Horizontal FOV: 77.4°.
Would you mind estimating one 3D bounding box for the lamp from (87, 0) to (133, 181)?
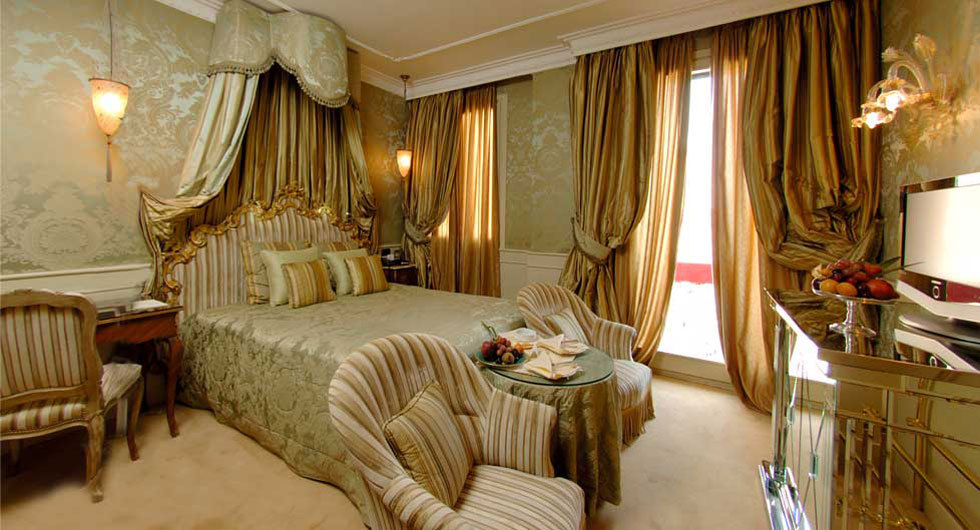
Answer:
[{"bbox_3d":[-3.649,-1.683,5.877,0.340,1.757,0.179,-6,8,-31],"label":"lamp"}]

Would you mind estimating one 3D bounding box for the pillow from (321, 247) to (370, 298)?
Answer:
[{"bbox_3d":[-1.678,0.082,6.902,0.507,0.464,0.148,-1,-4,1],"label":"pillow"}]

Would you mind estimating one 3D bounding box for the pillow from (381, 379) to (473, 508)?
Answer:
[{"bbox_3d":[-0.453,1.435,4.834,0.449,0.901,0.595,3,8,37],"label":"pillow"}]

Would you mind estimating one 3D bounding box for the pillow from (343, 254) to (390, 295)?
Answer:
[{"bbox_3d":[-1.415,0.101,6.968,0.476,0.431,0.143,-2,-16,-41],"label":"pillow"}]

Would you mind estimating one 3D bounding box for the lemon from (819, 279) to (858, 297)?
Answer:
[{"bbox_3d":[2.691,0.186,4.738,0.135,0.096,0.213,-26,21,-19],"label":"lemon"}]

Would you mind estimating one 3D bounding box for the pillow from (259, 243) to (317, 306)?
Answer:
[{"bbox_3d":[-2.160,0.127,6.480,0.203,0.457,0.592,5,12,30],"label":"pillow"}]

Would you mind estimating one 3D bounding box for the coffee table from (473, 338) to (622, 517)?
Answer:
[{"bbox_3d":[0.570,1.420,5.641,1.249,0.885,1.230,1,5,33],"label":"coffee table"}]

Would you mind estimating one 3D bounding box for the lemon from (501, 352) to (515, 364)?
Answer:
[{"bbox_3d":[0.162,0.828,5.425,0.099,0.096,0.106,-2,-13,-18],"label":"lemon"}]

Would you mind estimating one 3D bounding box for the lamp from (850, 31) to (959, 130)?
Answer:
[{"bbox_3d":[3.616,-1.678,5.507,0.620,0.796,0.847,0,6,9],"label":"lamp"}]

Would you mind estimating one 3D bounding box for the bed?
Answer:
[{"bbox_3d":[-1.571,0.632,6.630,3.178,2.272,2.878,3,7,28],"label":"bed"}]

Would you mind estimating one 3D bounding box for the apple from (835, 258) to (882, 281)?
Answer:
[{"bbox_3d":[2.859,0.007,4.860,0.213,0.106,0.265,-4,4,2],"label":"apple"}]

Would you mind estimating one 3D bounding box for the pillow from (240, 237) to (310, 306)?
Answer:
[{"bbox_3d":[-2.413,0.078,6.523,0.662,0.647,0.280,4,-12,-28],"label":"pillow"}]

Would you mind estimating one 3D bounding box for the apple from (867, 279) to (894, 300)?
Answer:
[{"bbox_3d":[2.984,0.194,4.710,0.162,0.156,0.157,-19,11,-38],"label":"apple"}]

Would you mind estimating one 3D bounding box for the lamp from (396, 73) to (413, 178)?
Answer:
[{"bbox_3d":[-1.178,-1.854,8.278,0.240,1.337,0.394,-2,7,-7],"label":"lamp"}]

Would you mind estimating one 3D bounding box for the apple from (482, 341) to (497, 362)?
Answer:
[{"bbox_3d":[-0.011,0.781,5.447,0.147,0.149,0.061,-7,-2,44],"label":"apple"}]

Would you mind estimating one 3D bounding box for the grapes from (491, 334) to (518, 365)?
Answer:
[{"bbox_3d":[0.129,0.756,5.432,0.186,0.097,0.244,-1,15,-12],"label":"grapes"}]
